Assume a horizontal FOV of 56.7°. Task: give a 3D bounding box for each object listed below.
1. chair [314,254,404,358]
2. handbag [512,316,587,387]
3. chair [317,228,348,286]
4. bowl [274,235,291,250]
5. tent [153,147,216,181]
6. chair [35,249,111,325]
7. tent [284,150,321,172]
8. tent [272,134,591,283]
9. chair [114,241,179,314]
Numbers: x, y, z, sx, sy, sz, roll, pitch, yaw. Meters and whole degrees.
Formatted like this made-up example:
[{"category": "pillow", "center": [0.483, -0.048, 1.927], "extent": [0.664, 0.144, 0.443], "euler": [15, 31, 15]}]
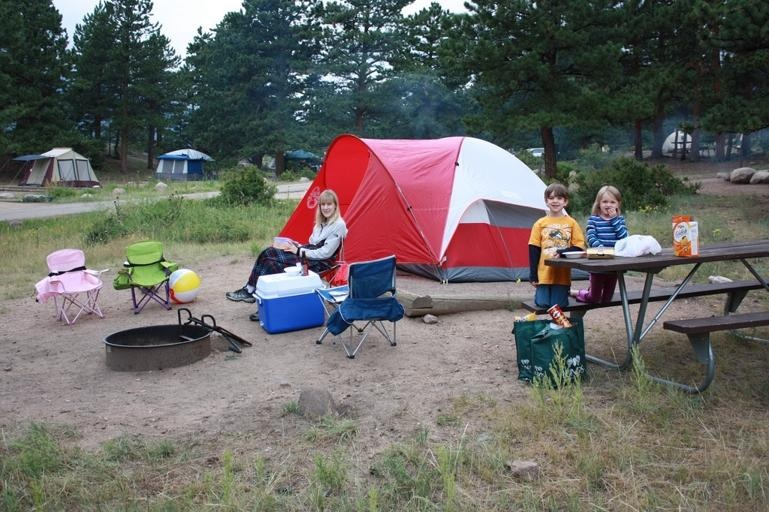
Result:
[{"category": "chair", "center": [-0.401, 0.713, 11.112], "extent": [1.083, 1.461, 1.308], "euler": [-7, 12, -34]}, {"category": "handbag", "center": [2.240, 1.346, 10.159], "extent": [0.958, 0.988, 0.785], "euler": [-2, 0, -8]}, {"category": "chair", "center": [-0.853, 0.168, 12.705], "extent": [0.725, 1.054, 0.732], "euler": [0, 3, -16]}, {"category": "bowl", "center": [-1.693, -0.182, 11.874], "extent": [0.252, 0.210, 0.396], "euler": [-5, 8, -30]}, {"category": "tent", "center": [-11.830, -5.242, 42.539], "extent": [2.458, 1.620, 2.585], "euler": [4, 12, 12]}, {"category": "chair", "center": [-5.582, 0.624, 12.789], "extent": [0.811, 1.195, 1.067], "euler": [10, 13, 43]}, {"category": "tent", "center": [-5.493, -6.427, 48.621], "extent": [3.427, 1.196, 3.353], "euler": [-7, 15, -32]}, {"category": "tent", "center": [0.969, -0.922, 13.418], "extent": [3.432, 1.461, 3.431], "euler": [-2, 6, -30]}, {"category": "chair", "center": [-4.289, 0.457, 12.874], "extent": [1.108, 1.134, 0.804], "euler": [-6, 11, -35]}]
